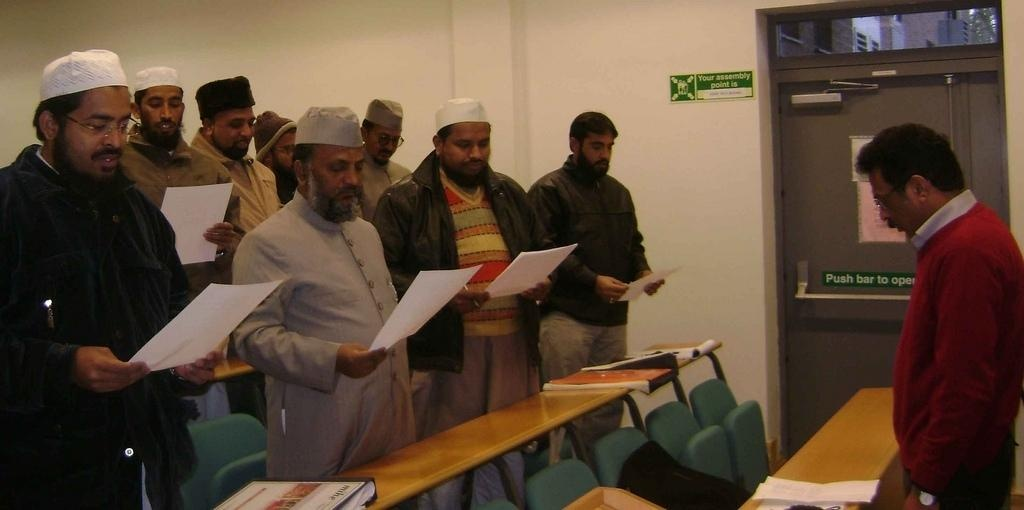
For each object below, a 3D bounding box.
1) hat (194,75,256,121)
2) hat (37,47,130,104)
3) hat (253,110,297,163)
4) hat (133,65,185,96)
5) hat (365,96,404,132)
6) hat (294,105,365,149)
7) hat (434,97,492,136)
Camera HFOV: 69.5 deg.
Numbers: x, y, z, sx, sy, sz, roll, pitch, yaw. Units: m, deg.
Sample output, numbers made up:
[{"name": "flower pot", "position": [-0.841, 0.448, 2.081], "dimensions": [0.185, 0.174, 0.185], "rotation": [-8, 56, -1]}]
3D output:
[{"name": "hat", "position": [-2.014, -1.089, 5.262], "dimensions": [0.438, 0.228, 0.401], "rotation": [3, 17, 21]}, {"name": "hat", "position": [-2.145, -0.915, 3.734], "dimensions": [0.422, 0.203, 0.433], "rotation": [1, 12, 23]}, {"name": "hat", "position": [-1.961, -0.953, 6.011], "dimensions": [0.423, 0.358, 0.297], "rotation": [-2, 9, 9]}, {"name": "hat", "position": [-2.372, -1.167, 4.985], "dimensions": [0.281, 0.127, 0.263], "rotation": [-10, 8, -19]}, {"name": "hat", "position": [-0.986, -1.047, 5.500], "dimensions": [0.217, 0.159, 0.291], "rotation": [3, 10, -45]}, {"name": "hat", "position": [-1.068, -0.738, 4.270], "dimensions": [0.411, 0.215, 0.407], "rotation": [0, 10, -18]}, {"name": "hat", "position": [-0.334, -0.901, 4.865], "dimensions": [0.273, 0.131, 0.258], "rotation": [-6, 7, 23]}]
